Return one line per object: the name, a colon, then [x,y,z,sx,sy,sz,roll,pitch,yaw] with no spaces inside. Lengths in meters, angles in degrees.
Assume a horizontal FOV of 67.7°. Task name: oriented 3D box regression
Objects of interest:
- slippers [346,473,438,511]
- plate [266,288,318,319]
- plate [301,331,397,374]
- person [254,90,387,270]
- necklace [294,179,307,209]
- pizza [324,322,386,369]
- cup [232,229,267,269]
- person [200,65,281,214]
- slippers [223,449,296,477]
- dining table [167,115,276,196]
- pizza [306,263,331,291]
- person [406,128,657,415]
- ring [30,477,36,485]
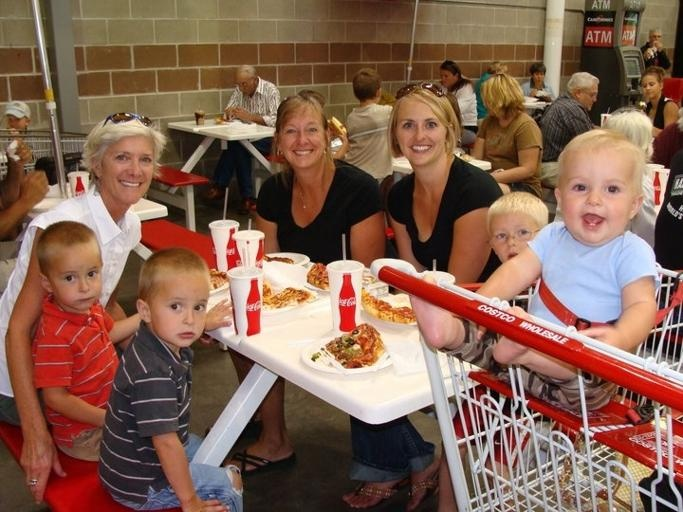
slippers: [0.234,1.187,2.459,0.451,0.092,0.172,-12,45,-6]
plate: [-0.207,0.179,1.959,0.144,0.026,0.105,-15,24,-22]
plate: [0.020,0.322,1.635,0.275,0.033,0.285,1,5,6]
person: [-0.175,-0.335,2.828,0.744,1.069,0.669,3,25,22]
necklace: [-0.223,-0.337,2.889,0.043,0.214,0.036,-15,0,26]
pizza: [0.055,0.289,1.660,0.189,0.061,0.215,11,30,23]
cup: [-0.394,-0.030,2.198,0.138,0.158,0.144,2,24,-1]
person: [-1.477,-1.818,7.672,0.821,2.050,1.408,11,23,23]
slippers: [-0.430,1.039,2.655,0.321,0.079,0.127,-1,4,-25]
dining table: [-1.580,-1.924,7.672,1.282,0.999,2.129,-1,32,-1]
pizza: [-0.102,0.082,2.201,0.083,0.041,0.111,-11,32,-25]
person: [0.533,0.023,1.413,0.607,0.764,0.687,8,2,26]
ring: [-1.012,0.746,1.687,0.018,0.013,0.017,2,16,0]
